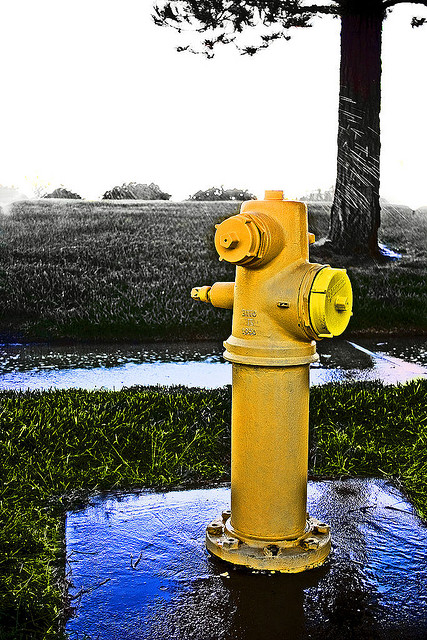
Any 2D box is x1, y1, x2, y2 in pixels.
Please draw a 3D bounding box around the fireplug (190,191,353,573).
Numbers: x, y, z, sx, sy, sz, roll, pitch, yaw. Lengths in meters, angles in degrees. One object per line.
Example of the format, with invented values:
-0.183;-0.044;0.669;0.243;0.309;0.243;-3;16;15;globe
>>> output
0.243;0.216;2.853;0.521;1.401;0.413;1;8;2;fireplug
